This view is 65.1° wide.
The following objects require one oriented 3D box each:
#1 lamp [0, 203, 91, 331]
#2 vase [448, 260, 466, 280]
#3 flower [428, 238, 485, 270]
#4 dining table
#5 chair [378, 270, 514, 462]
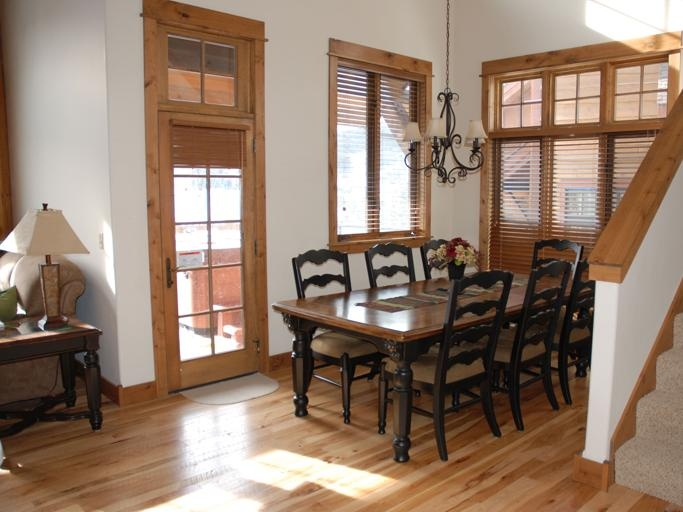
[{"bbox_3d":[-2.182,0.072,3.939,0.516,0.911,0.367,10,16,41],"label":"lamp"},{"bbox_3d":[0.987,0.118,4.745,0.212,0.192,0.196,1,2,0],"label":"vase"},{"bbox_3d":[1.073,-0.019,4.733,0.391,0.239,0.362,0,2,-19],"label":"flower"},{"bbox_3d":[0.304,0.497,4.076,1.306,0.823,1.947,5,8,43],"label":"dining table"},{"bbox_3d":[0.797,0.701,3.957,0.814,1.275,1.116,4,12,20],"label":"chair"}]
